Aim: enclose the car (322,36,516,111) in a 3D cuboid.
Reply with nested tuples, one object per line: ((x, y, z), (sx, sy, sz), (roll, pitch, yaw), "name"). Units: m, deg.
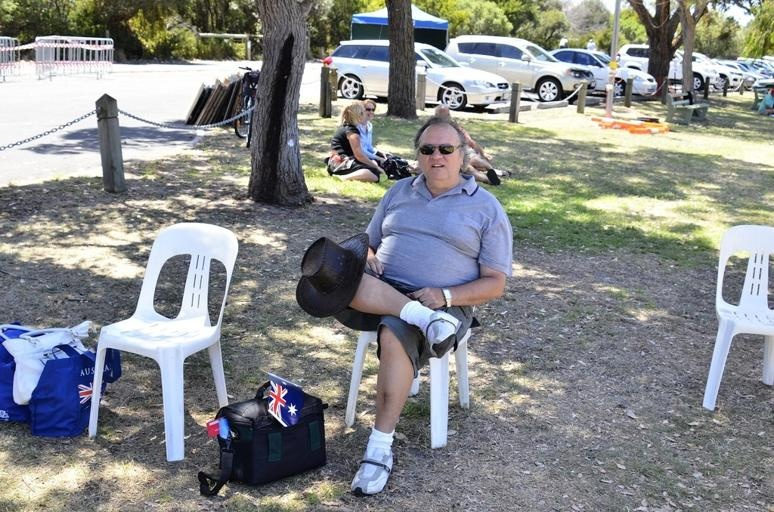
((0.785, -5.339, 21.872), (5.098, 1.890, 1.561), (6, 18, 15), "car")

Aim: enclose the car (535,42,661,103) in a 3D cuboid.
((7.708, -6.792, 27.643), (4.581, 1.673, 1.958), (7, 25, 15), "car")

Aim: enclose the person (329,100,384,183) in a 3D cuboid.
((-0.487, -1.938, 12.382), (0.905, 1.318, 1.524), (5, 11, 0), "person")

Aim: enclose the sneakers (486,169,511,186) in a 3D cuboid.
((1.865, -1.320, 12.408), (0.243, 0.199, 0.621), (9, 10, 31), "sneakers")

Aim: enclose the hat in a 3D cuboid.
((-0.438, 0.148, 5.914), (0.251, 0.658, 0.560), (30, -4, -43), "hat")

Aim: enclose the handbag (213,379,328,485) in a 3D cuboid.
((-0.907, 1.395, 5.935), (0.490, 0.738, 0.910), (2, 3, 39), "handbag")

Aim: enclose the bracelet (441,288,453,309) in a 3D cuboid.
((0.491, 0.348, 6.027), (0.077, 0.164, 0.068), (2, 17, 2), "bracelet")

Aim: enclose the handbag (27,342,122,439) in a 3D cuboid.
((-2.591, 1.097, 6.174), (0.522, 0.722, 0.738), (8, 9, 26), "handbag")

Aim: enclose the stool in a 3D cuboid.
((0.195, 1.074, 6.401), (0.988, 0.789, 1.014), (0, 12, 7), "stool")

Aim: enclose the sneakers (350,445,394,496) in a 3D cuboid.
((-0.109, 1.661, 5.670), (0.189, 0.189, 0.453), (3, 25, 16), "sneakers")

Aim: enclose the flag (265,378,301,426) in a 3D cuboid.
((-0.784, 1.117, 5.689), (0.355, 0.336, 0.089), (22, -17, -30), "flag")
